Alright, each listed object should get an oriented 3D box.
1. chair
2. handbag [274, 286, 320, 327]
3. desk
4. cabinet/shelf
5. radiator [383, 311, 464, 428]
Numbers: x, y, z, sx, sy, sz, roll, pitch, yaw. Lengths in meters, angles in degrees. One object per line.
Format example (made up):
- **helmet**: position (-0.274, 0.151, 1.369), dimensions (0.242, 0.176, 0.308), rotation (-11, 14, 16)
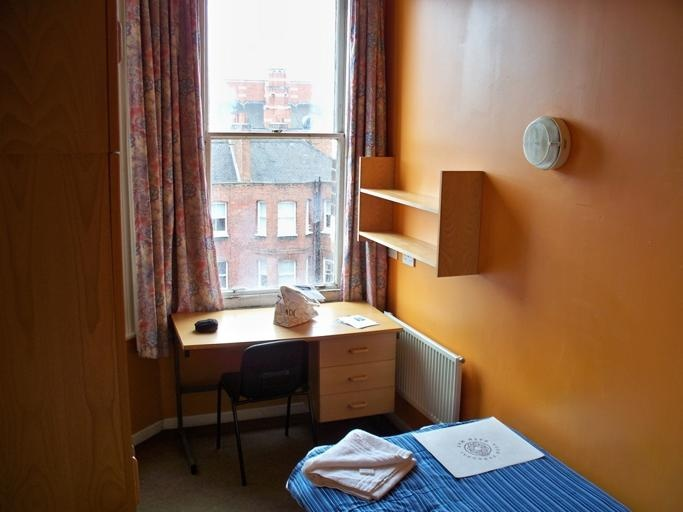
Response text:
- **chair**: position (-0.483, 0.928, 3.732), dimensions (0.523, 0.914, 0.523), rotation (-3, 12, -28)
- **handbag**: position (-0.287, 0.332, 3.946), dimensions (0.249, 0.282, 0.273), rotation (-4, 0, 22)
- **desk**: position (-0.321, 0.907, 3.969), dimensions (1.339, 0.870, 0.713), rotation (-2, 5, -12)
- **cabinet/shelf**: position (0.465, -0.254, 3.695), dimensions (0.290, 0.701, 1.157), rotation (-5, 14, -22)
- **radiator**: position (0.562, 0.788, 3.760), dimensions (0.068, 0.528, 0.730), rotation (-5, 15, -24)
